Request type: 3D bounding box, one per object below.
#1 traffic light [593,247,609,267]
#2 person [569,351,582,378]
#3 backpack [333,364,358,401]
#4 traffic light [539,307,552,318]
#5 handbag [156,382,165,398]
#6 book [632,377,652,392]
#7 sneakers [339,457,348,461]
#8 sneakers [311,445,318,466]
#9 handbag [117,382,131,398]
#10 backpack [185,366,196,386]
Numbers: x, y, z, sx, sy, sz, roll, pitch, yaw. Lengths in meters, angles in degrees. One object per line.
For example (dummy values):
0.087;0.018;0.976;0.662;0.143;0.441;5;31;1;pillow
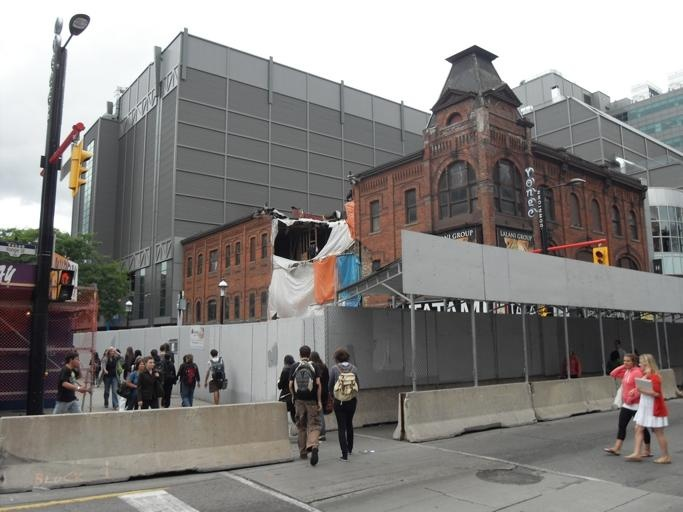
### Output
12.287;-0.056;27.474;0.583;1.100;1.728;-7;-12;21;traffic light
9.622;4.443;23.994;0.382;0.999;1.774;-6;-12;20;person
0.129;3.047;13.644;0.550;0.658;0.360;-1;4;10;backpack
9.956;2.722;28.393;0.254;0.365;0.496;9;-27;6;traffic light
-5.196;3.734;16.469;0.113;0.425;0.423;-1;-11;-7;handbag
6.756;2.868;13.013;0.041;0.326;0.289;-14;-12;-26;book
0.036;4.691;13.505;0.173;0.091;0.233;-3;-11;0;sneakers
-0.623;4.473;13.129;0.133;0.437;0.175;2;-3;-6;sneakers
-6.202;3.778;16.441;0.272;0.447;0.538;2;-12;-20;handbag
-4.902;3.865;18.829;0.325;0.506;0.462;4;-19;-19;backpack
